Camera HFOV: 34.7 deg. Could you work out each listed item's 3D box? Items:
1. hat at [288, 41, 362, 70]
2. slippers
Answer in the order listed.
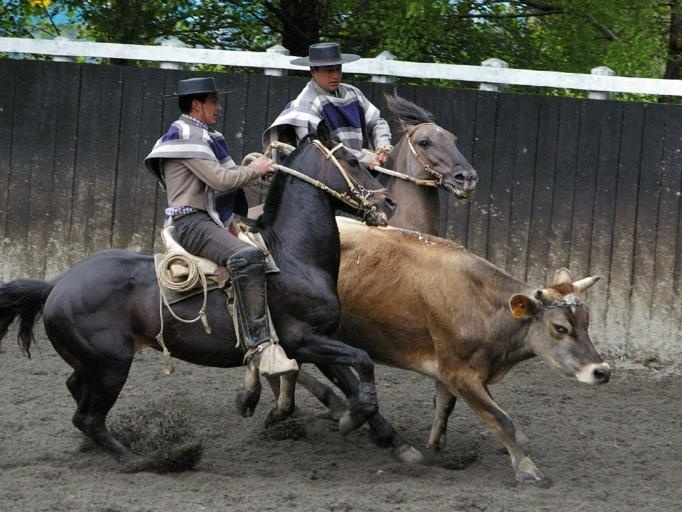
[{"bbox_3d":[-0.170,-1.672,9.104,0.463,0.076,0.375,-3,17,5],"label":"hat"},{"bbox_3d":[-0.653,0.362,7.969,0.233,0.853,0.339,-7,19,-30],"label":"slippers"}]
